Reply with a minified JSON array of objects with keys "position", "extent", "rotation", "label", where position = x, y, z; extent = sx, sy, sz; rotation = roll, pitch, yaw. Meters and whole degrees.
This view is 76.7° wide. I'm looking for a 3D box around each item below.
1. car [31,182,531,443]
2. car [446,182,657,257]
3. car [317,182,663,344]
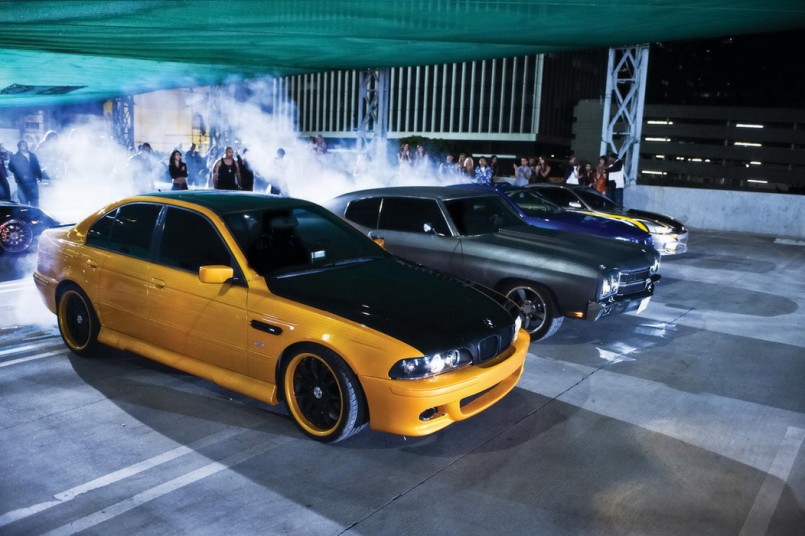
[{"position":[-1.527,0.372,5.583],"extent":[5.082,1.530,2.327],"rotation":[11,17,24],"label":"car"},{"position":[3.292,-0.711,11.140],"extent":[4.463,1.351,1.988],"rotation":[8,17,22],"label":"car"},{"position":[1.444,-0.349,7.865],"extent":[5.070,1.533,2.259],"rotation":[11,18,26],"label":"car"}]
